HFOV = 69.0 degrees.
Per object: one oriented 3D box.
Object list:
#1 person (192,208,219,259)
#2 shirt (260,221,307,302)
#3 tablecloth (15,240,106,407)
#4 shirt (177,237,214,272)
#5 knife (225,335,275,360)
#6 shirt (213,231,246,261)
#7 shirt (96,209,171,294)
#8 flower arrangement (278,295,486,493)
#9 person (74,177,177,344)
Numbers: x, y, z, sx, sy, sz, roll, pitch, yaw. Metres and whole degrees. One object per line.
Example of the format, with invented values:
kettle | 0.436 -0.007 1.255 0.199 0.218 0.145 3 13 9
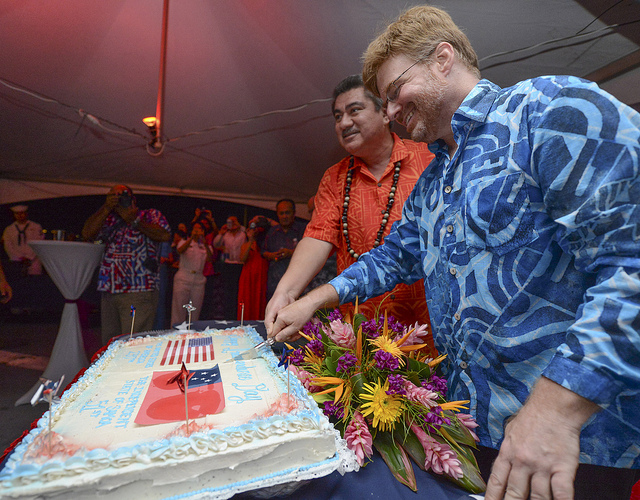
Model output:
person | -1.432 -0.203 6.018 0.326 0.231 0.719 22 15 -35
shirt | -0.359 0.140 4.778 0.478 0.798 0.754 -3 8 -6
tablecloth | -1.883 0.493 3.528 0.361 0.685 0.377 5 -2 -6
shirt | -1.364 0.062 5.115 0.141 0.269 0.310 -24 -34 37
knife | -0.274 0.395 1.844 0.234 0.042 0.019 -25 18 -27
shirt | -1.075 -0.036 5.766 0.497 0.408 0.142 -2 18 -18
shirt | -1.553 -0.029 3.777 0.552 0.692 0.363 5 23 -10
flower arrangement | 0.176 0.412 1.315 0.427 0.465 0.201 18 -29 18
person | -1.539 0.094 3.767 0.686 1.215 0.360 -7 9 -30
